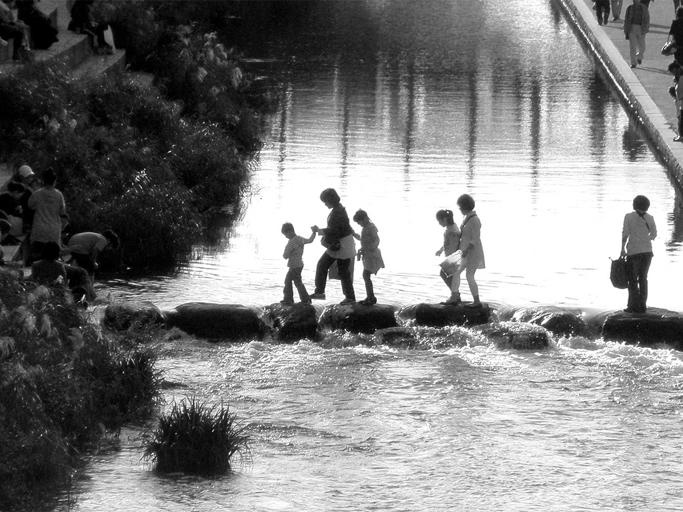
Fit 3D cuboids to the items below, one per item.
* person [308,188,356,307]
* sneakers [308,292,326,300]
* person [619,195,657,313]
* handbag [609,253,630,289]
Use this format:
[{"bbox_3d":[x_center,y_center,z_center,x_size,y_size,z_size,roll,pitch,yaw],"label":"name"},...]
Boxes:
[{"bbox_3d":[-0.100,-0.140,20.625,0.629,1.367,0.890,2,1,0],"label":"person"},{"bbox_3d":[-0.350,0.593,20.907,0.248,0.166,0.083,5,7,20],"label":"sneakers"},{"bbox_3d":[4.137,-0.012,20.303,0.465,1.520,0.664,2,1,11],"label":"person"},{"bbox_3d":[3.874,0.231,20.221,0.385,0.378,0.090,20,5,25],"label":"handbag"}]
